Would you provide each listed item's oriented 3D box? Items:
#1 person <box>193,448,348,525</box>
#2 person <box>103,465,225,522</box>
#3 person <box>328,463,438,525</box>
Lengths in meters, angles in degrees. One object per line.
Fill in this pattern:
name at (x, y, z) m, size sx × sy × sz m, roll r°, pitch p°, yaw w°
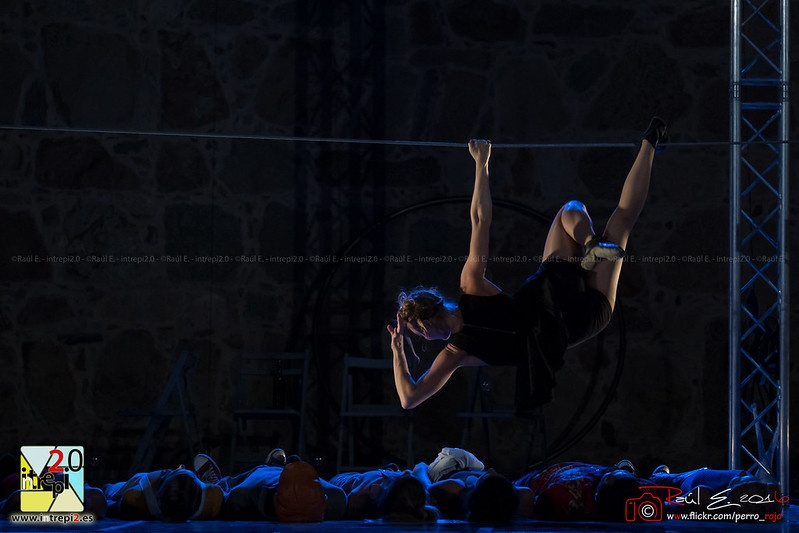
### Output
person at (-1.112, 1.881, 11.486) m, size 1.042 × 0.370 × 1.176 m, roll 13°, pitch 0°, yaw -40°
person at (-2.036, 1.934, 11.214) m, size 0.828 × 0.248 × 0.490 m, roll 0°, pitch -13°, yaw 22°
person at (-0.088, 1.987, 11.814) m, size 0.706 × 0.378 × 1.662 m, roll -14°, pitch -2°, yaw -15°
